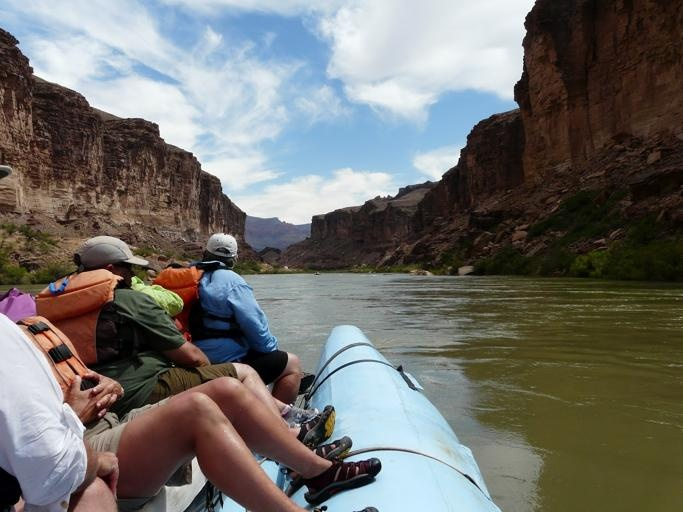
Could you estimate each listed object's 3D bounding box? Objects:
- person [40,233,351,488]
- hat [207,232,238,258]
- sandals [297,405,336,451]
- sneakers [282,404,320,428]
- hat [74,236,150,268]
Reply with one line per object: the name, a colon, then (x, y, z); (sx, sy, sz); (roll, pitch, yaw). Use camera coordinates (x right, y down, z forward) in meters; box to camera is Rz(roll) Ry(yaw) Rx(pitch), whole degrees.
person: (-0.706, 0.591, 2.529); (1.929, 0.901, 0.674); (15, -2, 17)
hat: (-1.087, -0.115, 3.699); (0.229, 0.146, 0.293); (12, 6, -20)
sandals: (-0.154, 1.123, 2.648); (0.162, 0.295, 0.109); (16, -24, -4)
sneakers: (-0.313, 1.200, 3.006); (0.352, 0.134, 0.104); (-11, 29, 8)
hat: (-1.557, -0.036, 2.697); (0.364, 0.144, 0.217); (-1, -2, -25)
